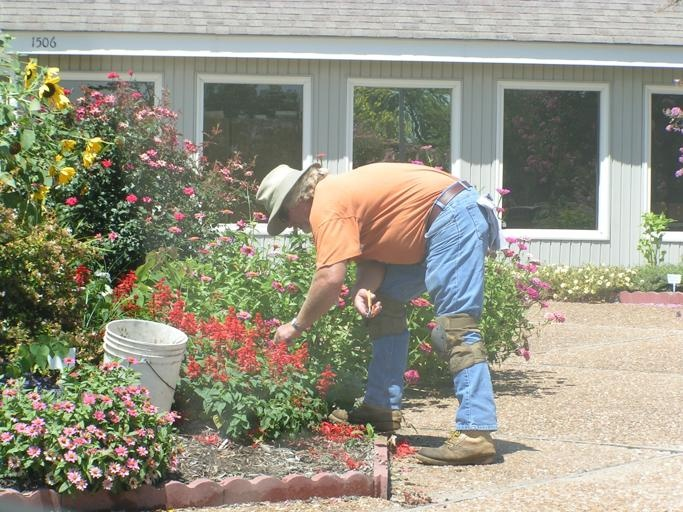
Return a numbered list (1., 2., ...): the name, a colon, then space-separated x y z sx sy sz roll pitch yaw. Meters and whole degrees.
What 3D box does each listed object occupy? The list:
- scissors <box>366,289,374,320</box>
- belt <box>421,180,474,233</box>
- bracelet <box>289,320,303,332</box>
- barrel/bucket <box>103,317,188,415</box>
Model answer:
1. scissors: 0.214 0.382 9.597 0.070 0.180 0.048 -5 -3 18
2. belt: 0.856 -0.417 9.760 0.380 0.115 0.358 -33 -21 -34
3. bracelet: -0.378 0.551 9.600 0.039 0.098 0.085 -44 21 -24
4. barrel/bucket: -1.618 0.760 9.763 0.725 0.690 0.694 13 12 -3
